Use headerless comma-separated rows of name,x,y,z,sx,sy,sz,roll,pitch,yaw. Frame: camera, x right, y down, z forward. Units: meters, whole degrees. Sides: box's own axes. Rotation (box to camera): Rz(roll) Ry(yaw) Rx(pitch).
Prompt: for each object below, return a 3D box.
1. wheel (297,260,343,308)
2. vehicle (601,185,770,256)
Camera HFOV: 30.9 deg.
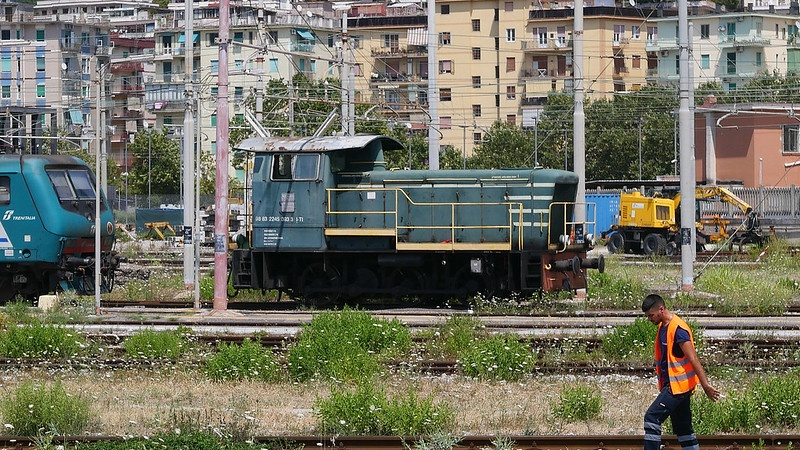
wheel,-4.714,3.399,85.837,3.084,2.788,0.868,0,6,14
vehicle,19.792,-0.237,102.507,11.123,4.363,3.824,2,2,28
